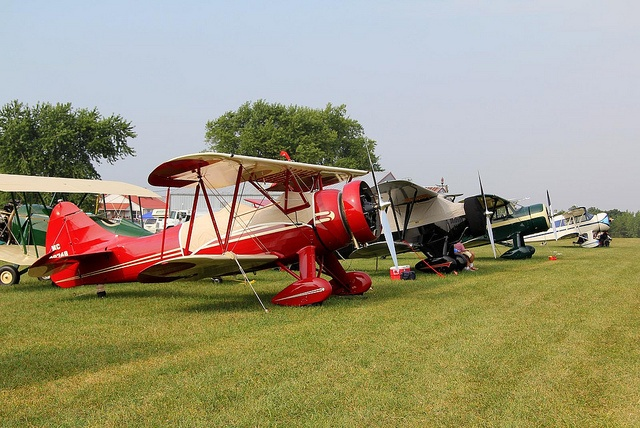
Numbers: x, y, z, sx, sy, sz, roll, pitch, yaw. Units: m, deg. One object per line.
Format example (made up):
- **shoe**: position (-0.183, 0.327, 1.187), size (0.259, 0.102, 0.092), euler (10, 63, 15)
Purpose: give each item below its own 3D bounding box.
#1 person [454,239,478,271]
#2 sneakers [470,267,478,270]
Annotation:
- **person**: position (4.948, 1.399, 17.215), size (0.388, 0.981, 0.723), euler (-18, -14, 6)
- **sneakers**: position (5.026, 1.768, 16.966), size (0.338, 0.135, 0.113), euler (-4, -2, 32)
